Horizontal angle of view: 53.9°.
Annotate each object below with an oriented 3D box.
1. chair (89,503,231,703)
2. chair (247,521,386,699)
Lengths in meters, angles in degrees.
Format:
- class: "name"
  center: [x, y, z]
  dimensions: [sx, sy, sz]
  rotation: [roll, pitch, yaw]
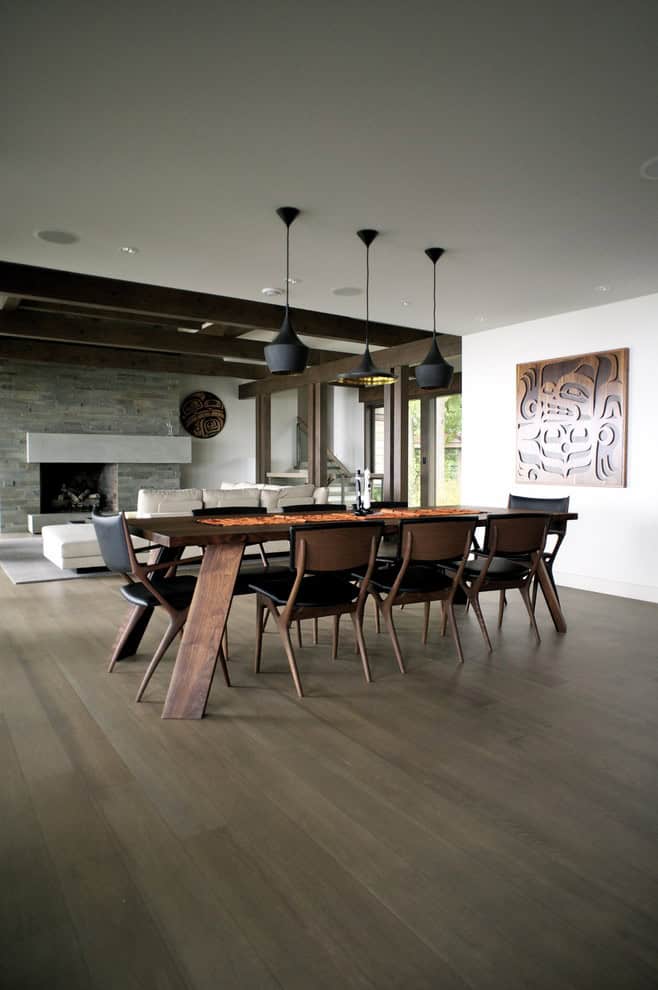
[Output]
- class: "chair"
  center: [-0.812, 0.449, 3.095]
  dimensions: [0.707, 1.130, 0.689]
  rotation: [-1, 3, -25]
- class: "chair"
  center: [-0.075, 0.458, 2.866]
  dimensions: [0.473, 0.710, 0.554]
  rotation: [0, 2, -27]
